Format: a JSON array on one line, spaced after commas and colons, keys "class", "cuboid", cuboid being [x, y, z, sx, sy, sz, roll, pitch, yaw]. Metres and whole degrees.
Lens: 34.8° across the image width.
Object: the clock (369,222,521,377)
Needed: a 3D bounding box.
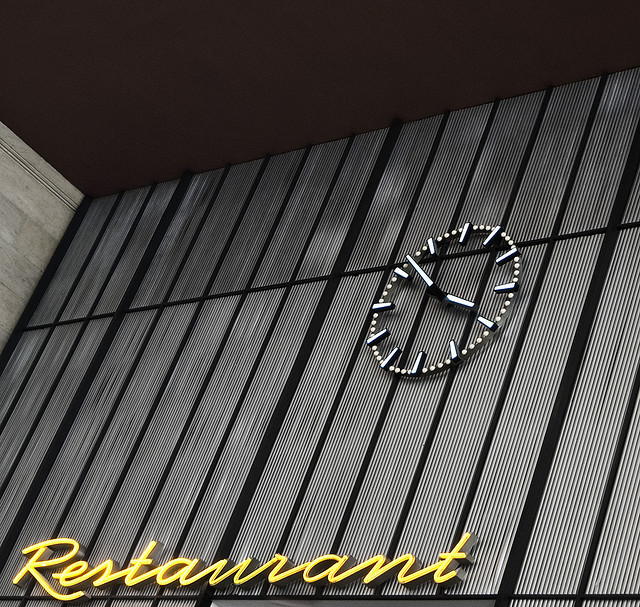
[{"class": "clock", "cuboid": [1.645, 0.011, 12.975, 2.376, 0.191, 2.179, -13, 43, 27]}]
